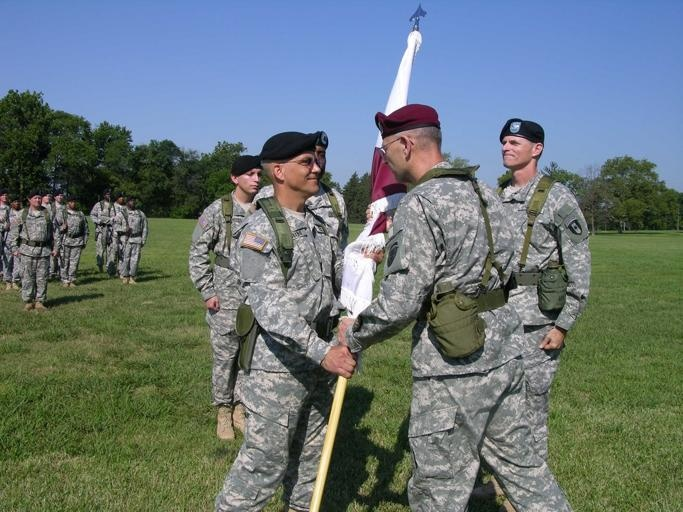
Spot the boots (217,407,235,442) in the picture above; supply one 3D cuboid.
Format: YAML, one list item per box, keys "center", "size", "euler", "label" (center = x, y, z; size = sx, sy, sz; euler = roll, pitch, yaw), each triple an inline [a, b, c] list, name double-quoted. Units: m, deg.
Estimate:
- center: [-1.456, 2.109, 7.426]
  size: [0.210, 0.452, 0.467]
  euler: [-6, -3, -10]
  label: "boots"
